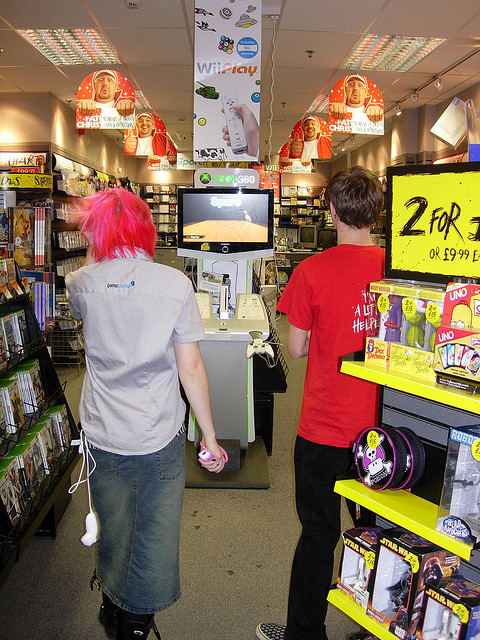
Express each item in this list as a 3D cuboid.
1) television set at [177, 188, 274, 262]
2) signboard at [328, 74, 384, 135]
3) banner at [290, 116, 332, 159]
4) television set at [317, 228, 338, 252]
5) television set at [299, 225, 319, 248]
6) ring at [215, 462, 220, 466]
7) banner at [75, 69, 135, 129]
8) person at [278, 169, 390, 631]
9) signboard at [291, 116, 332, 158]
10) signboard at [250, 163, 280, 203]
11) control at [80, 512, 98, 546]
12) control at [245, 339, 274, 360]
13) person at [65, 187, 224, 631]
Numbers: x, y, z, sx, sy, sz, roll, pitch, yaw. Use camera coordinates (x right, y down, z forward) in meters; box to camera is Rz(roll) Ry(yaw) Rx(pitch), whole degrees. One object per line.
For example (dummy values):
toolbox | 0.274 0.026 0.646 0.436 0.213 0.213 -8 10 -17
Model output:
television set | -0.082 -0.642 2.914 0.426 0.361 0.032 1 8 1
signboard | 1.559 -2.930 6.038 0.727 0.903 0.031 3 -13 6
banner | 1.216 -3.165 7.718 0.711 0.876 0.031 0 -16 9
television set | 2.347 -2.205 12.067 0.552 0.628 0.448 5 5 36
television set | 1.962 -2.325 12.442 0.321 0.633 0.623 -4 15 -13
ring | -0.071 0.468 1.455 0.003 0.015 0.019 4 5 35
banner | -1.799 -2.966 6.030 0.790 0.788 0.217 3 4 8
person | 0.283 0.279 1.490 0.334 1.527 0.181 3 4 18
signboard | 1.225 -3.173 7.715 0.722 0.888 0.031 1 -17 8
signboard | 0.529 -3.012 9.885 0.853 0.896 0.450 8 18 25
control | -0.445 0.622 1.326 0.055 0.096 0.032 -1 -1 5
control | 0.117 0.173 2.669 0.154 0.155 0.070 -1 -31 1
person | -0.293 0.323 1.331 0.470 1.399 0.231 2 4 -2
